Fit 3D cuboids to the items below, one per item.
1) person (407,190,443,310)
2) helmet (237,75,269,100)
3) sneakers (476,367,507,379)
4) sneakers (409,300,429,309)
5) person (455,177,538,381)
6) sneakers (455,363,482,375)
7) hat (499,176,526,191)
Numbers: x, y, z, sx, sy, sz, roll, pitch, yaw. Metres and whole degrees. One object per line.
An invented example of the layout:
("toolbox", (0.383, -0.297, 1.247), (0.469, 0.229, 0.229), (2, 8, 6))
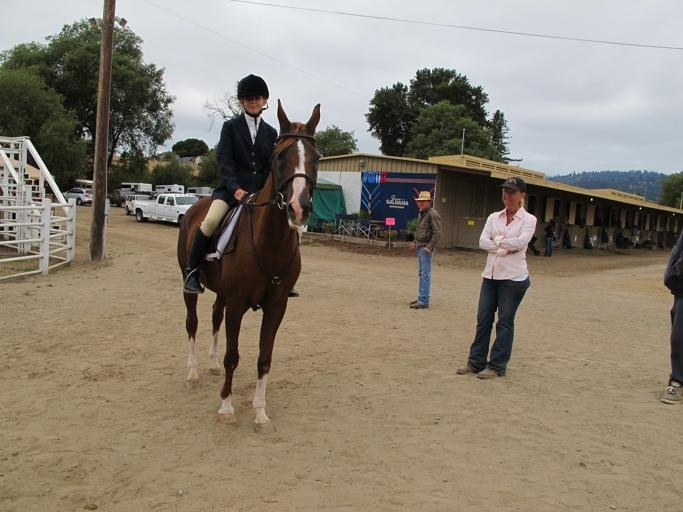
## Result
("person", (1.806, -0.125, 12.464), (0.531, 2.463, 0.913), (4, 7, 8))
("helmet", (-1.075, -2.059, 7.117), (0.352, 0.270, 0.354), (2, 7, -12))
("sneakers", (2.205, 1.716, 8.521), (0.363, 0.169, 0.163), (4, -6, -8))
("sneakers", (1.681, 1.051, 12.518), (0.179, 0.157, 0.338), (-2, -18, 32))
("person", (2.326, 0.305, 8.594), (0.859, 2.930, 0.653), (4, 7, 8))
("sneakers", (1.902, 1.687, 8.726), (0.362, 0.180, 0.145), (6, -7, -26))
("hat", (2.509, -1.031, 8.404), (0.376, 0.224, 0.208), (0, 8, -31))
